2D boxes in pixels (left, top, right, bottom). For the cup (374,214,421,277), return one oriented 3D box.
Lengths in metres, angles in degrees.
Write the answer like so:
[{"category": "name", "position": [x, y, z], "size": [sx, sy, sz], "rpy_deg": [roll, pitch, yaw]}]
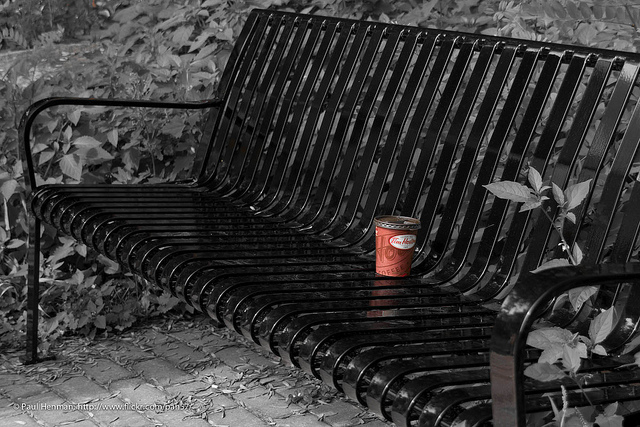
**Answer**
[{"category": "cup", "position": [0.264, 0.120, 1.960], "size": [0.184, 0.154, 0.165], "rpy_deg": [5, -3, 16]}]
